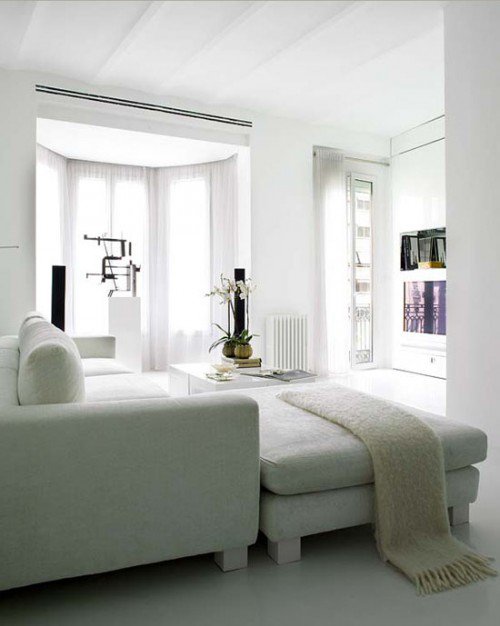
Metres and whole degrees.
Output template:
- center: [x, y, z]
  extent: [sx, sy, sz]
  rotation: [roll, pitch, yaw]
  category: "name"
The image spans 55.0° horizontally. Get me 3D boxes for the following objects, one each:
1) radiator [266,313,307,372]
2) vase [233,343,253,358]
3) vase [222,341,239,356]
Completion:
- center: [0.452, 0.344, 5.414]
  extent: [0.389, 0.165, 0.835]
  rotation: [3, 45, 2]
  category: "radiator"
- center: [-0.062, 0.274, 3.622]
  extent: [0.094, 0.106, 0.104]
  rotation: [-3, -3, 29]
  category: "vase"
- center: [-0.164, 0.264, 3.745]
  extent: [0.086, 0.171, 0.105]
  rotation: [0, 0, -14]
  category: "vase"
